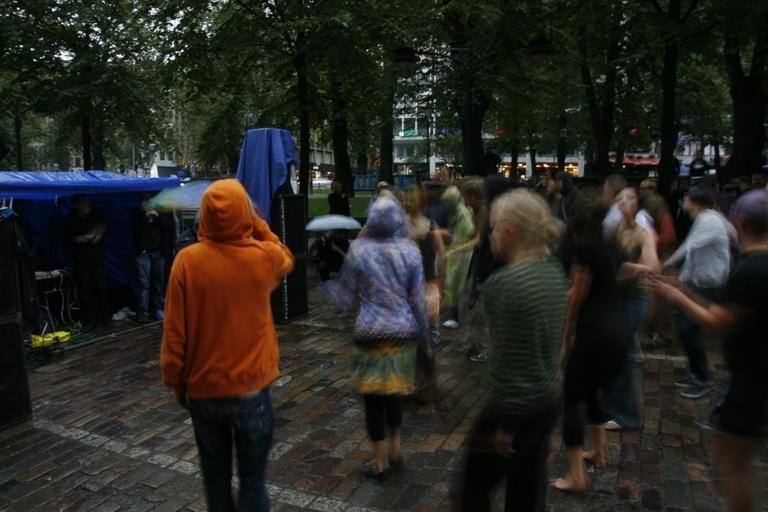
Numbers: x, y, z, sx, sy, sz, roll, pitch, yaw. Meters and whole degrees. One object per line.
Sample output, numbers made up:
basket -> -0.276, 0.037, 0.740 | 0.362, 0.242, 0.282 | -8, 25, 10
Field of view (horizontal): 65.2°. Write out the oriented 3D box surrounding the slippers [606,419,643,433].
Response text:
slippers -> 2.556, 1.788, 6.344 | 0.360, 0.088, 0.387 | -1, -2, 18
